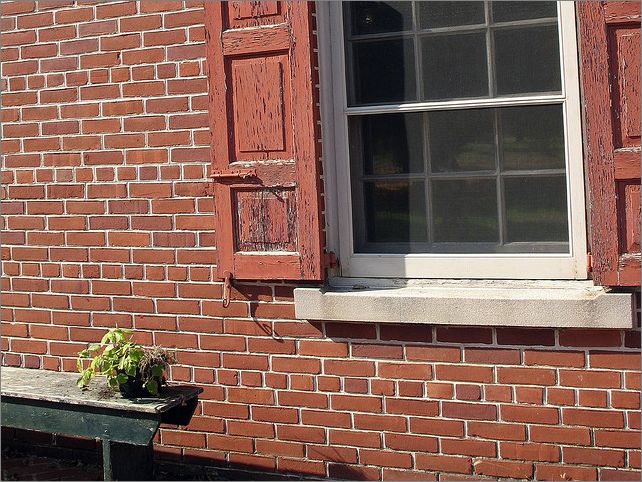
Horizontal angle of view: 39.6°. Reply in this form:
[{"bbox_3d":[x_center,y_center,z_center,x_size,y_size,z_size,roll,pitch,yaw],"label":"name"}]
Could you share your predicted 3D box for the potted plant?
[{"bbox_3d":[-1.140,0.741,5.142,0.389,0.202,0.522,7,-3,12],"label":"potted plant"}]
